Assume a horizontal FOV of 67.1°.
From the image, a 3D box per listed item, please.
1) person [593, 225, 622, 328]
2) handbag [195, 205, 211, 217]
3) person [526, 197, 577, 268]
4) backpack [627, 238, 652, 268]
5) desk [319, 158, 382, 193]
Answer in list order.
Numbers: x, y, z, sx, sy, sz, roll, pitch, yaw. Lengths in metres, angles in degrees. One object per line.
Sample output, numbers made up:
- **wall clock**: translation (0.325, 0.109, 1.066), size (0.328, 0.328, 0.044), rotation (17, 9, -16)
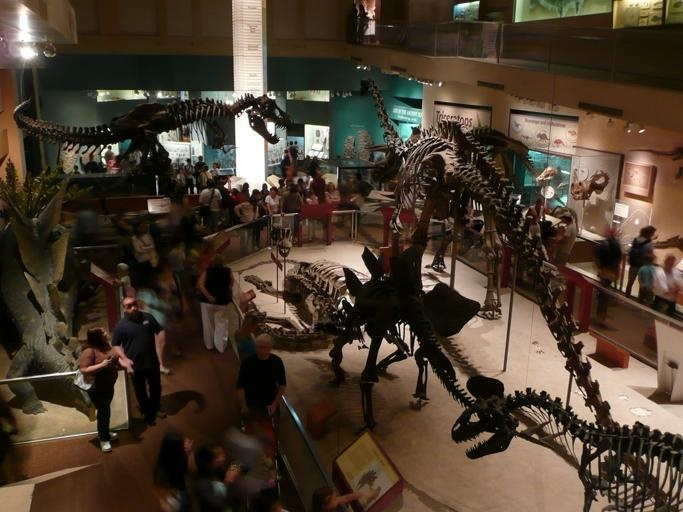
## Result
- **person**: translation (4.707, 0.398, 9.074), size (0.424, 1.307, 1.365), rotation (6, 18, 27)
- **handbag**: translation (-3.282, -1.067, 12.179), size (0.382, 0.381, 0.226), rotation (3, 4, 4)
- **person**: translation (4.310, -0.430, 10.388), size (0.809, 1.030, 0.670), rotation (6, 18, 27)
- **backpack**: translation (5.079, -0.046, 8.712), size (0.269, 0.540, 0.399), rotation (11, 6, -8)
- **desk**: translation (-0.206, -2.455, 15.513), size (1.598, 1.172, 0.902), rotation (9, 12, 37)
